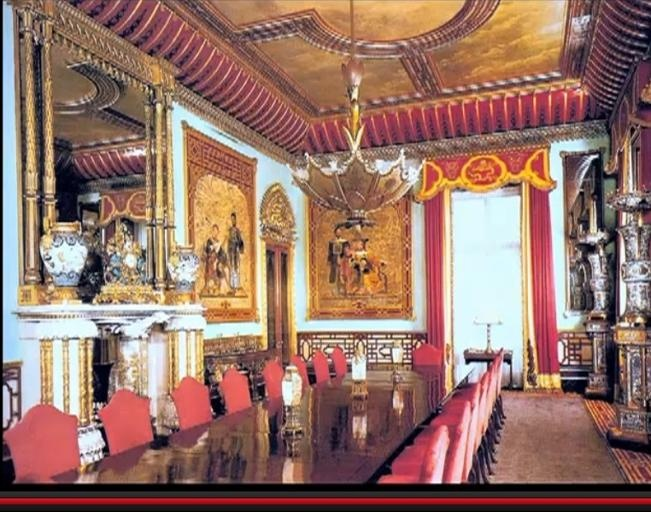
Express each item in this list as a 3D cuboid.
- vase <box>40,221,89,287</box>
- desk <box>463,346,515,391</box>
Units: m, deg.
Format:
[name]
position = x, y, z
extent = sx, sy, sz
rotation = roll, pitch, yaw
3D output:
[vase]
position = -2.566, -0.024, 6.594
extent = 0.439, 0.650, 0.283
rotation = 1, -7, -20
[desk]
position = 2.868, 2.071, 11.775
extent = 0.791, 1.149, 1.133
rotation = 2, -1, 17
